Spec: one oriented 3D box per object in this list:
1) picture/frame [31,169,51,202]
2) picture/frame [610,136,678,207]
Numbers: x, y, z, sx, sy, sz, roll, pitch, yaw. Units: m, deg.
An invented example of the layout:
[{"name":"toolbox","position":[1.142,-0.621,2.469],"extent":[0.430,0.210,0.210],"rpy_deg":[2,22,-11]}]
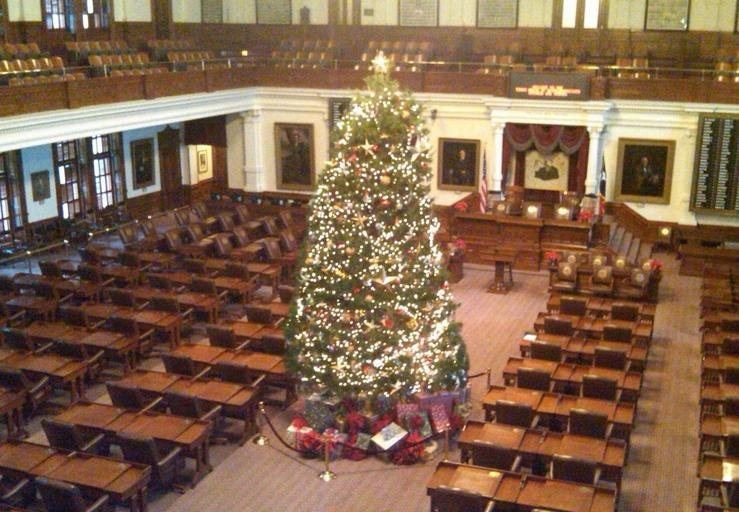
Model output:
[{"name":"picture/frame","position":[-9.674,-2.080,18.217],"extent":[0.073,1.046,0.910],"rpy_deg":[4,6,23]},{"name":"picture/frame","position":[8.137,-2.560,18.285],"extent":[1.852,2.190,0.161],"rpy_deg":[4,12,14]}]
